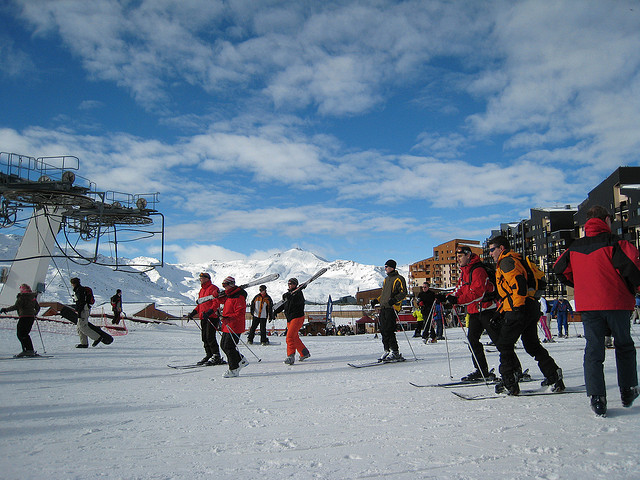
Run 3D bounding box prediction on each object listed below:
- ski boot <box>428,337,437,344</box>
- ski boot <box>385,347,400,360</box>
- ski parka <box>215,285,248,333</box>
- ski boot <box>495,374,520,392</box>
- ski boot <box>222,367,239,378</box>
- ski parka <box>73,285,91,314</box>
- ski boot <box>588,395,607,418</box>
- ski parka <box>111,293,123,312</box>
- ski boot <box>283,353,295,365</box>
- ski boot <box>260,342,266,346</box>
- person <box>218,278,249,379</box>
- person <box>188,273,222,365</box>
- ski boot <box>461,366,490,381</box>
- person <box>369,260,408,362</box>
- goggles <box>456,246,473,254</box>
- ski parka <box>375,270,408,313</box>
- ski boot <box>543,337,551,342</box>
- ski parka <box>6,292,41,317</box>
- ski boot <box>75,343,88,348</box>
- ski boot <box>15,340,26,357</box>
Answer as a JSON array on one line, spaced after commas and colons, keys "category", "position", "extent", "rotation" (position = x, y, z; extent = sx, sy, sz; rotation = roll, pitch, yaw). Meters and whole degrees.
[{"category": "ski boot", "position": [3.857, 3.274, 16.016], "extent": [0.353, 0.209, 0.118], "rotation": [13, -22, -22]}, {"category": "ski boot", "position": [1.538, 2.398, 10.271], "extent": [0.416, 0.242, 0.128], "rotation": [2, -22, -9]}, {"category": "ski parka", "position": [-1.660, 1.288, 9.431], "extent": [0.514, 0.897, 0.463], "rotation": [-1, -1, 30]}, {"category": "ski boot", "position": [2.561, 1.892, 6.534], "extent": [0.260, 0.224, 0.184], "rotation": [-12, -6, 14]}, {"category": "ski boot", "position": [-1.634, 2.399, 8.923], "extent": [0.357, 0.132, 0.123], "rotation": [5, -12, -10]}, {"category": "ski parka", "position": [-6.653, 1.657, 13.567], "extent": [0.443, 0.755, 0.341], "rotation": [1, -7, -23]}, {"category": "ski boot", "position": [3.185, 1.831, 5.480], "extent": [0.156, 0.239, 0.136], "rotation": [-5, -7, 27]}, {"category": "ski parka", "position": [-9.224, 2.847, 22.077], "extent": [0.382, 0.779, 1.052], "rotation": [2, -7, -26]}, {"category": "ski boot", "position": [-0.638, 2.546, 10.580], "extent": [0.220, 0.240, 0.241], "rotation": [-1, -7, -6]}, {"category": "ski boot", "position": [-1.873, 3.501, 16.574], "extent": [0.152, 0.058, 0.199], "rotation": [3, -3, -40]}, {"category": "person", "position": [-1.621, 1.620, 9.292], "extent": [0.479, 1.789, 0.745], "rotation": [-1, -7, -10]}, {"category": "person", "position": [-2.411, 1.661, 10.433], "extent": [0.605, 1.935, 0.814], "rotation": [0, -7, -12]}, {"category": "ski boot", "position": [2.541, 2.047, 7.551], "extent": [0.587, 0.218, 0.184], "rotation": [1, -19, 6]}, {"category": "person", "position": [1.559, 1.481, 10.202], "extent": [0.536, 2.062, 0.626], "rotation": [0, -7, -16]}, {"category": "goggles", "position": [2.368, 0.170, 7.849], "extent": [0.112, 0.123, 0.113], "rotation": [3, -24, -9]}, {"category": "ski parka", "position": [1.598, 0.993, 10.318], "extent": [0.369, 0.650, 0.737], "rotation": [4, -4, -33]}, {"category": "ski boot", "position": [6.831, 2.888, 14.299], "extent": [0.258, 0.130, 0.108], "rotation": [8, -10, -30]}, {"category": "ski parka", "position": [-7.093, 1.528, 11.583], "extent": [0.584, 0.571, 0.633], "rotation": [2, -8, -32]}, {"category": "ski boot", "position": [-6.725, 2.940, 13.731], "extent": [0.335, 0.129, 0.234], "rotation": [5, -9, -44]}, {"category": "ski boot", "position": [-6.907, 2.466, 11.227], "extent": [0.186, 0.369, 0.281], "rotation": [2, -7, -30]}]
